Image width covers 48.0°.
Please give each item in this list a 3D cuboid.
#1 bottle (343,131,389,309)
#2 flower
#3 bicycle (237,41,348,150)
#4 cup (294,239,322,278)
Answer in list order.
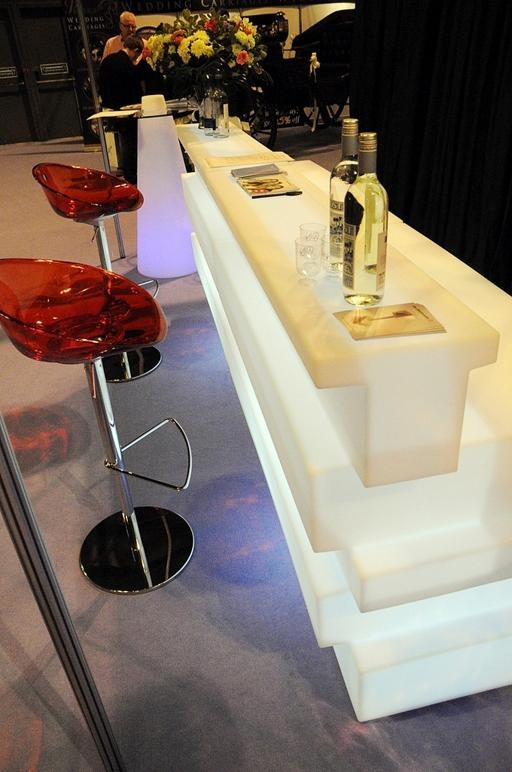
[{"bbox_3d":[0.176,-0.264,0.912,0.071,0.275,0.160,4,33,12],"label":"bottle"},{"bbox_3d":[-0.259,-1.773,3.074,0.630,0.393,0.468,-7,33,-7],"label":"flower"},{"bbox_3d":[0.490,-3.544,7.162,1.274,1.070,2.017,2,33,7],"label":"bicycle"},{"bbox_3d":[0.091,-0.246,1.142,0.062,0.072,0.067,-3,41,2],"label":"cup"}]
